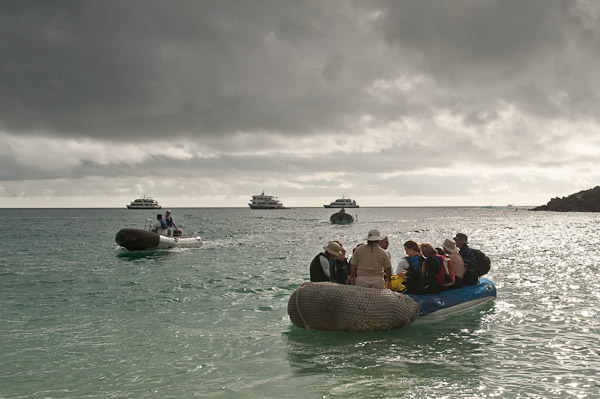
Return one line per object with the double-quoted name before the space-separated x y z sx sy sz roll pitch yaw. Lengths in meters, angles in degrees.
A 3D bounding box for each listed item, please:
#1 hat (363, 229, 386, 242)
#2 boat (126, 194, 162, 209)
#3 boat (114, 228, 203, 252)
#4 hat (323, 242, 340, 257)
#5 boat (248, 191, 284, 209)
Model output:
"hat" 2.392 1.148 15.819 0.385 0.396 0.768 0 2 24
"boat" -47.128 1.399 149.725 12.940 4.654 3.431 2 -3 3
"boat" -8.669 2.551 33.542 2.724 1.725 7.305 1 2 27
"hat" 1.056 1.669 16.342 0.533 0.254 0.456 30 8 -7
"boat" -10.694 0.859 147.032 13.967 5.162 4.554 0 7 2
